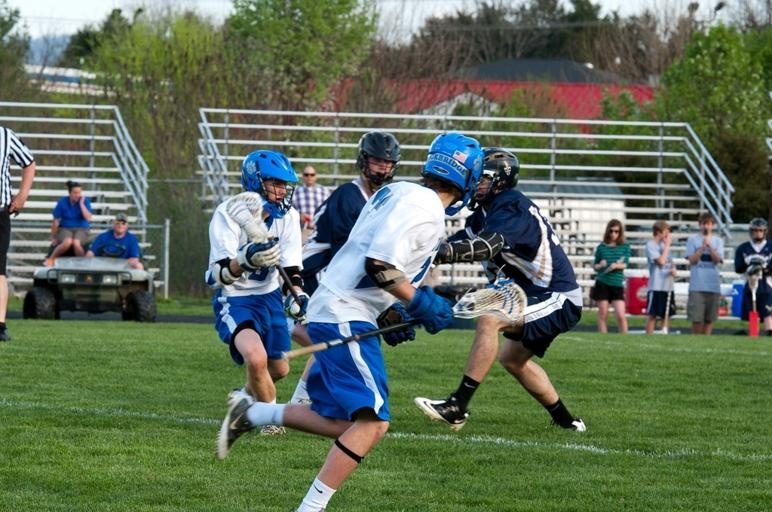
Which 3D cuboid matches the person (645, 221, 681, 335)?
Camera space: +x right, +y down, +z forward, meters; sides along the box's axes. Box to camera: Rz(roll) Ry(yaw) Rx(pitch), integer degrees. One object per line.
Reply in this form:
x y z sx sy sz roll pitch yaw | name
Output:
6.759 0.487 38.731 0.658 2.722 0.536 0 -2 8 | person

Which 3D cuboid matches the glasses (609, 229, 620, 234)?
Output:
5.571 -0.625 38.220 0.218 0.114 0.063 1 -2 -23 | glasses

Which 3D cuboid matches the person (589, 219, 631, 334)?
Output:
5.525 0.451 38.554 0.890 2.783 0.992 0 -2 8 | person

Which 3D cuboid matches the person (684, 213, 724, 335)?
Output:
7.823 0.428 38.572 0.904 2.926 0.985 1 -2 -22 | person

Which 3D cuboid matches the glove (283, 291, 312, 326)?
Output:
-1.786 1.037 31.756 0.250 0.679 0.483 2 -4 -23 | glove

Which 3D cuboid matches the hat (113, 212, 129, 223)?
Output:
-6.427 -0.958 38.421 0.249 0.200 0.374 1 -1 -6 | hat

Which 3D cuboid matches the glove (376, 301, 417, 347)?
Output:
0.226 1.316 30.611 0.766 0.755 0.330 -23 -2 2 | glove

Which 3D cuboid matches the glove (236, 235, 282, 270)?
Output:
-2.452 -0.078 30.793 0.743 0.424 0.581 -7 -7 39 | glove
